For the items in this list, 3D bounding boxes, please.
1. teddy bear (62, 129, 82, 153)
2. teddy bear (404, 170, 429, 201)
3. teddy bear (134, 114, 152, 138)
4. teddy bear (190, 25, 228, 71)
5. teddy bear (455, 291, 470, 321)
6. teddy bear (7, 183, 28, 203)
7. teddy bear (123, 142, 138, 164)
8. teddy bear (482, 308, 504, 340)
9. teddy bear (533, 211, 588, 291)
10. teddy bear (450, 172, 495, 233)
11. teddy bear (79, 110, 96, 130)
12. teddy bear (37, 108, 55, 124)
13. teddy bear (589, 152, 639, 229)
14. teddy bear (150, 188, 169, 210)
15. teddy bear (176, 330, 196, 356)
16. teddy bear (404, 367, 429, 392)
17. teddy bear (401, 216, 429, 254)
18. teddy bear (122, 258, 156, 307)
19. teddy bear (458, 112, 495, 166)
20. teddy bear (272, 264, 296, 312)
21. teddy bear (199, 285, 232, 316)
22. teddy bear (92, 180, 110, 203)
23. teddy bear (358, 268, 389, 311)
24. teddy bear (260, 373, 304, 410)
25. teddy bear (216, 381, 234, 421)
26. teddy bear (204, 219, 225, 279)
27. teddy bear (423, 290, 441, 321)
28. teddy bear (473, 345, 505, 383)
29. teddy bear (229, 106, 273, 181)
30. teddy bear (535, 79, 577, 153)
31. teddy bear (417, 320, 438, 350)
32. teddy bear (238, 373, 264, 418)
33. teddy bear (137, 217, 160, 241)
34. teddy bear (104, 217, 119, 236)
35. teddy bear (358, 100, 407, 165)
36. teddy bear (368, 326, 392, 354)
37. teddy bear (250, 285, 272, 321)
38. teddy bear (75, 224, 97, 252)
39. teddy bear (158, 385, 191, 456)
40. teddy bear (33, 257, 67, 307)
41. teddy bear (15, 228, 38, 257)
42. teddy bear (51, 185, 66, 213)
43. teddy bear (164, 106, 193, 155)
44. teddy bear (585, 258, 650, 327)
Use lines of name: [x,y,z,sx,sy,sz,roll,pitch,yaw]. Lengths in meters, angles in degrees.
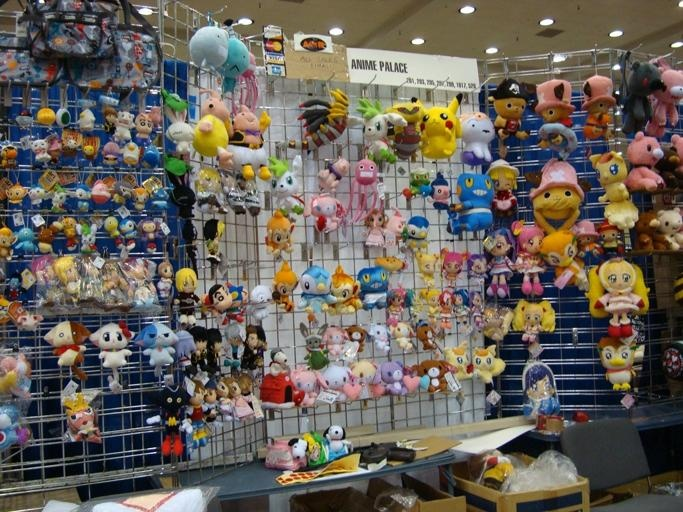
teddy bear: [-1.530,-0.656,4.310,0.096,0.139,0.054,-3,-4,-21]
teddy bear: [0.532,-0.506,5.318,0.194,0.201,0.235,-3,-6,5]
teddy bear: [-1.147,-0.758,4.418,0.106,0.146,0.083,0,-6,-22]
teddy bear: [-0.779,-1.233,4.495,0.229,0.258,0.187,2,7,8]
teddy bear: [0.844,0.335,5.308,0.069,0.214,0.187,-6,-7,35]
teddy bear: [-1.846,-0.353,4.371,0.091,0.118,0.107,2,-7,19]
teddy bear: [-1.204,-0.581,4.332,0.097,0.132,0.080,2,-23,-11]
teddy bear: [1.075,0.482,5.399,0.154,0.215,0.082,1,-5,-26]
teddy bear: [1.566,-0.037,5.359,0.335,0.560,0.234,2,-7,-37]
teddy bear: [0.920,-0.367,5.345,0.324,0.399,0.227,-3,-6,7]
teddy bear: [-1.444,-0.766,4.308,0.093,0.120,0.068,1,-7,-36]
teddy bear: [-1.665,-0.776,4.277,0.095,0.101,0.164,0,-6,-26]
teddy bear: [1.916,-0.442,5.312,0.235,0.538,0.261,-7,-7,37]
teddy bear: [-1.066,-0.330,4.451,0.109,0.124,0.166,-1,-6,-14]
teddy bear: [-0.910,0.507,4.478,0.119,0.142,0.129,-3,9,-3]
teddy bear: [0.504,0.818,5.084,0.185,0.152,0.052,24,-25,-39]
teddy bear: [0.493,-0.146,5.262,0.186,0.236,0.233,-1,-6,-11]
teddy bear: [-1.144,0.159,4.317,0.215,0.260,0.094,3,-12,-37]
teddy bear: [0.968,-0.835,5.359,0.241,0.374,0.232,-4,-6,12]
teddy bear: [-0.354,0.191,4.882,0.163,0.325,0.121,1,-7,-33]
teddy bear: [-0.761,0.255,4.529,0.134,0.150,0.172,1,-7,-45]
teddy bear: [-1.372,-0.365,4.344,0.102,0.135,0.109,2,-6,8]
teddy bear: [0.211,0.214,5.064,0.218,0.314,0.187,-3,6,29]
teddy bear: [-0.375,0.846,4.787,0.212,0.206,0.197,-1,-4,13]
teddy bear: [-0.714,0.866,4.630,0.100,0.242,0.083,0,-6,-25]
teddy bear: [-0.793,-0.063,4.760,0.131,0.367,0.395,-1,-6,-9]
teddy bear: [0.642,0.325,5.265,0.109,0.207,0.091,-3,-6,7]
teddy bear: [1.042,0.764,5.369,0.238,0.297,0.152,3,-10,-11]
teddy bear: [-0.562,-0.701,4.716,0.192,0.471,0.424,-4,-6,20]
teddy bear: [1.519,-0.960,5.380,0.260,0.569,0.357,-4,-6,15]
teddy bear: [0.594,0.546,5.294,0.136,0.208,0.303,-3,-6,6]
teddy bear: [-0.607,0.878,4.764,0.071,0.254,0.166,-22,-1,26]
teddy bear: [-1.131,-0.157,4.462,0.112,0.128,0.116,0,-6,-22]
teddy bear: [-1.324,-0.174,4.382,0.072,0.120,0.081,-18,-2,2]
teddy bear: [0.272,-0.816,5.077,0.219,0.425,0.354,8,-14,-38]
teddy bear: [0.257,0.551,5.145,0.144,0.194,0.187,-3,-6,1]
teddy bear: [-0.516,0.287,4.788,0.113,0.215,0.163,14,18,39]
teddy bear: [-1.454,-0.098,4.331,0.105,0.177,0.120,-1,-6,-14]
teddy bear: [-0.957,0.947,4.384,0.177,0.418,0.198,-1,-6,-14]
teddy bear: [-1.612,0.150,4.212,0.157,0.277,0.063,-7,-10,-2]
teddy bear: [-1.793,-0.075,4.323,0.150,0.187,0.093,2,-1,-43]
teddy bear: [-1.616,-0.328,4.345,0.081,0.146,0.064,0,-6,-26]
teddy bear: [-0.948,-0.737,4.490,0.150,0.339,0.129,4,-13,-37]
teddy bear: [1.900,0.255,5.273,0.416,0.505,0.251,0,-6,4]
